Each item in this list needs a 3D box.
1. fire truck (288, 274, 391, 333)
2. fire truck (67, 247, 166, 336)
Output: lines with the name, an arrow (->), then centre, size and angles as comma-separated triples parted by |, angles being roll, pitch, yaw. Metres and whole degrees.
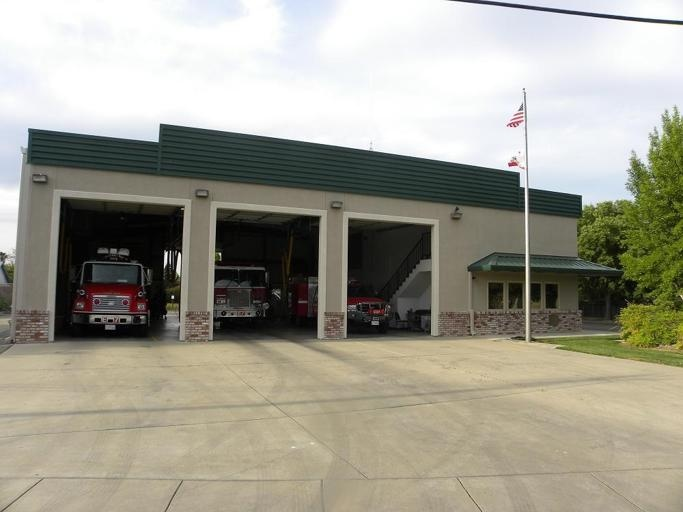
fire truck -> -0.196, 2.204, 26.215 | 2.803, 2.668, 5.787 | 3, -7, -25
fire truck -> -8.567, 1.415, 21.027 | 2.612, 2.677, 4.464 | 2, -11, -17
